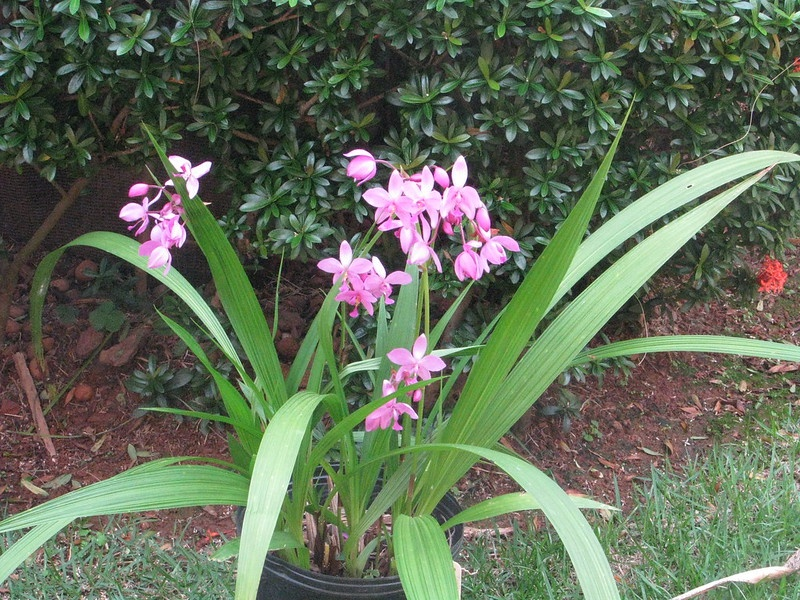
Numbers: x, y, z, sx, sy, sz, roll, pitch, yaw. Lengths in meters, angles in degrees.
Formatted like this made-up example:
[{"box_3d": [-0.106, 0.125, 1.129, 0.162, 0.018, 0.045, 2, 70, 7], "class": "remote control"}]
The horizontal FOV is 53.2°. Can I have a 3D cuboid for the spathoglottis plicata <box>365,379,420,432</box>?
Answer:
[{"box_3d": [-0.022, 0.280, 2.085, 0.056, 0.131, 0.137, 18, 36, -56], "class": "spathoglottis plicata"}]

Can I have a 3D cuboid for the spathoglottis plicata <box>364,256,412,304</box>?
[{"box_3d": [-0.040, -0.068, 2.121, 0.125, 0.117, 0.066, -29, 7, 5], "class": "spathoglottis plicata"}]

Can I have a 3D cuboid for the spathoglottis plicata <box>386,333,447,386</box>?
[{"box_3d": [0.039, 0.146, 2.071, 0.123, 0.130, 0.065, 14, 10, 0], "class": "spathoglottis plicata"}]

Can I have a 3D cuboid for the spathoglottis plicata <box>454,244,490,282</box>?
[{"box_3d": [0.167, -0.076, 1.981, 0.063, 0.107, 0.038, -3, -15, -14], "class": "spathoglottis plicata"}]

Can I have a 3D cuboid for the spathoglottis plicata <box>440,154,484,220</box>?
[{"box_3d": [0.163, -0.274, 1.973, 0.099, 0.157, 0.080, 0, -19, 3], "class": "spathoglottis plicata"}]

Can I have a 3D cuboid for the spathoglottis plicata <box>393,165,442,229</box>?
[{"box_3d": [0.051, -0.257, 1.977, 0.116, 0.135, 0.054, 7, 2, 1], "class": "spathoglottis plicata"}]

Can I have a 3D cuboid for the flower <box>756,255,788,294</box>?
[{"box_3d": [1.684, -0.123, 3.626, 0.120, 0.127, 0.122, -22, 12, 38], "class": "flower"}]

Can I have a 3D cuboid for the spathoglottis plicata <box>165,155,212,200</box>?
[{"box_3d": [-0.545, -0.323, 2.059, 0.121, 0.121, 0.039, -19, 5, -9], "class": "spathoglottis plicata"}]
